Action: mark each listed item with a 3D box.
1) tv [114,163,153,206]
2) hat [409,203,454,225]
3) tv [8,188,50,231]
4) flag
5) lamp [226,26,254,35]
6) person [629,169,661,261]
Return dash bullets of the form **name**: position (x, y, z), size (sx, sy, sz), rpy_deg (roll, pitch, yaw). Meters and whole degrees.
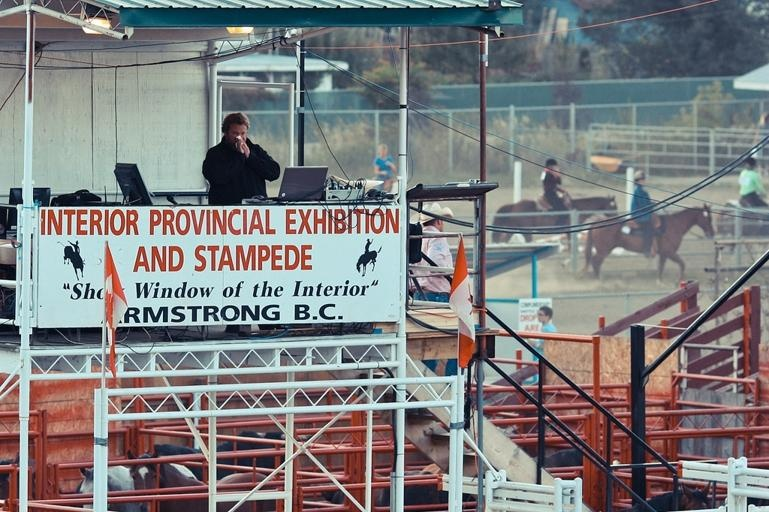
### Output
- **tv**: position (-6.461, -1.854, 67.906), size (0.695, 1.084, 0.932), rpy_deg (-6, 5, -32)
- **hat**: position (1.428, -1.163, 71.830), size (0.784, 0.346, 0.893), rpy_deg (-13, 1, 23)
- **tv**: position (-9.142, -1.158, 67.814), size (1.205, 1.096, 0.282), rpy_deg (1, 3, -14)
- **flag**: position (2.090, 1.328, 67.625), size (0.882, 3.040, 0.785), rpy_deg (3, -1, -1)
- **lamp**: position (-3.902, -6.209, 72.038), size (0.686, 0.223, 0.473), rpy_deg (1, -2, -6)
- **person**: position (9.410, -1.454, 93.139), size (0.884, 2.977, 1.064), rpy_deg (-6, -4, 6)
